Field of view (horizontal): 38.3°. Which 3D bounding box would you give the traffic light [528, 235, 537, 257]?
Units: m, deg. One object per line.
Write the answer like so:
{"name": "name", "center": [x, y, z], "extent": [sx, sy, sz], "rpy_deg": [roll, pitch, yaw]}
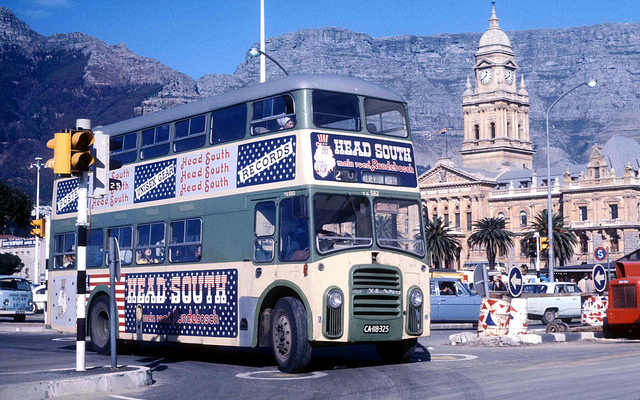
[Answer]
{"name": "traffic light", "center": [11.755, 2.649, 51.026], "extent": [0.426, 1.154, 1.014], "rpy_deg": [3, 0, 13]}

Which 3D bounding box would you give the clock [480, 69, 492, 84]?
{"name": "clock", "center": [26.396, -19.985, 147.110], "extent": [0.045, 2.353, 2.344], "rpy_deg": [6, -1, -38]}

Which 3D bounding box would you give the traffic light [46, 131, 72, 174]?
{"name": "traffic light", "center": [-7.033, -1.304, 25.012], "extent": [0.907, 1.061, 0.409], "rpy_deg": [3, 0, 44]}

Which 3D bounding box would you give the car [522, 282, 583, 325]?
{"name": "car", "center": [11.871, 5.303, 46.859], "extent": [2.654, 2.064, 4.563], "rpy_deg": [3, 0, 15]}

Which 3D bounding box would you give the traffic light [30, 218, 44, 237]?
{"name": "traffic light", "center": [-11.560, 1.132, 37.855], "extent": [0.495, 0.677, 1.761], "rpy_deg": [3, 0, -17]}

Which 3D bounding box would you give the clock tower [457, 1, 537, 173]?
{"name": "clock tower", "center": [28.178, -17.330, 147.463], "extent": [10.375, 27.023, 7.467], "rpy_deg": [3, 0, 0]}
